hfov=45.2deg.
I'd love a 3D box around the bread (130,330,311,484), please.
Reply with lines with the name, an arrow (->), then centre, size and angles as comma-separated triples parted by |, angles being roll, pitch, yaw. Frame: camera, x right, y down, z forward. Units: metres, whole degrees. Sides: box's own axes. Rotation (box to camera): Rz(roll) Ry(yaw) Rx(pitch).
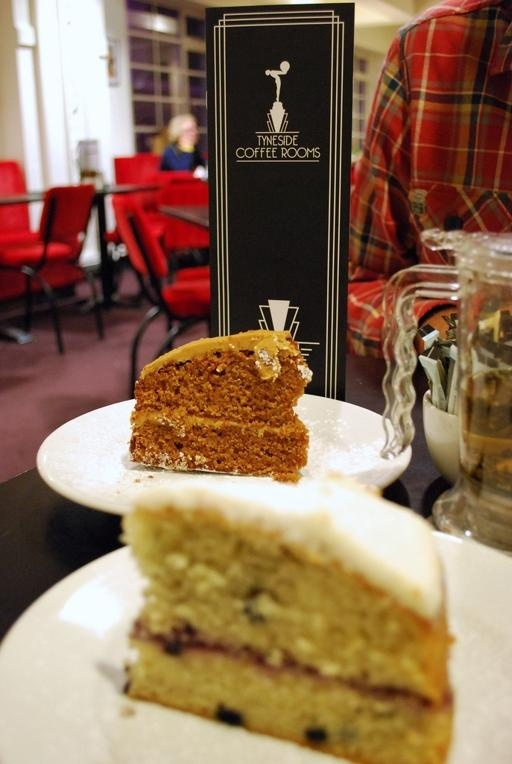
bread -> -0.037, 0.034, 0.715 | 0.174, 0.150, 0.079 | 1, -5, 6
